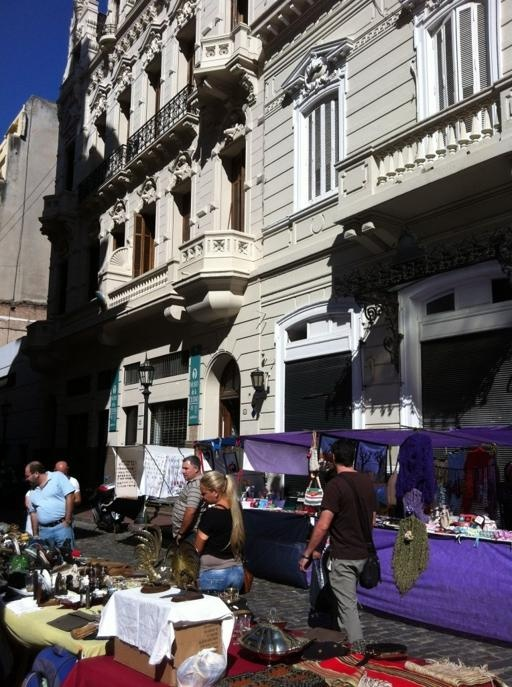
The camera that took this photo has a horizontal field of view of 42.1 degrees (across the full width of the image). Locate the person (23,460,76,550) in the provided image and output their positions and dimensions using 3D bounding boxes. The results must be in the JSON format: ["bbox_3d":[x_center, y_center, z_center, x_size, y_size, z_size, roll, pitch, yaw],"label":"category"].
[{"bbox_3d":[-2.313,1.824,7.486,0.523,0.897,0.327,3,-9,-17],"label":"person"}]

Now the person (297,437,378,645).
[{"bbox_3d":[0.615,1.452,4.913,0.561,1.433,0.510,0,-9,4],"label":"person"}]

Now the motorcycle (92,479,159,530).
[{"bbox_3d":[-3.203,3.544,14.967,1.530,1.154,0.816,-4,-1,30],"label":"motorcycle"}]

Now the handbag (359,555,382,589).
[{"bbox_3d":[0.845,1.740,4.999,0.150,0.278,0.391,-1,-9,9],"label":"handbag"}]

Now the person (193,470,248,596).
[{"bbox_3d":[-0.249,1.352,4.676,0.340,0.833,0.480,1,-9,-4],"label":"person"}]

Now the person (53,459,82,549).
[{"bbox_3d":[-2.452,2.114,8.560,0.416,1.160,0.325,2,6,13],"label":"person"}]

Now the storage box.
[{"bbox_3d":[-0.408,1.463,3.217,0.342,0.269,0.517,8,-12,-43],"label":"storage box"}]
